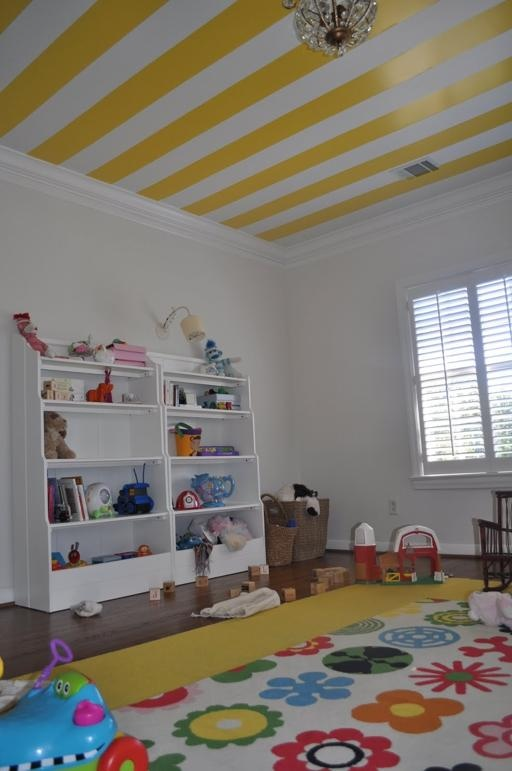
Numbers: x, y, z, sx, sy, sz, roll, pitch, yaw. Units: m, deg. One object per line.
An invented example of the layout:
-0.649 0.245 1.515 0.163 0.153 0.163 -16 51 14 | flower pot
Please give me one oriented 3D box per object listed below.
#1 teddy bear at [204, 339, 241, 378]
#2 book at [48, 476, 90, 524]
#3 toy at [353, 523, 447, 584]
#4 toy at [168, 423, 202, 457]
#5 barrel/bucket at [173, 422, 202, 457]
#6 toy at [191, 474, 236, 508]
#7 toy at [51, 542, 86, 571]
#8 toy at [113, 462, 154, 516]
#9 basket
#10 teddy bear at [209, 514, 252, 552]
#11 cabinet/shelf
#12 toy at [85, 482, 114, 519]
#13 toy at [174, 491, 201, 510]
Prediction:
-0.268 -0.203 3.979 0.260 0.288 0.181 -11 -5 -30 | teddy bear
-1.048 0.598 2.851 0.210 0.250 0.265 -1 -12 -44 | book
0.755 0.878 2.795 0.466 0.293 0.232 -2 -7 7 | toy
-0.485 0.359 3.504 0.207 0.193 0.199 -10 -14 39 | toy
-0.450 0.359 3.436 0.196 0.237 0.216 -6 -12 24 | barrel/bucket
-0.261 0.727 3.583 0.307 0.211 0.189 0 -12 8 | toy
-0.978 0.906 2.748 0.151 0.142 0.149 -4 -1 -16 | toy
-0.729 0.621 3.132 0.219 0.276 0.160 -7 -10 29 | toy
0.284 1.051 3.842 0.386 0.368 0.550 -6 -10 32 | basket
-0.166 0.960 3.438 0.216 0.081 0.192 18 2 -21 | teddy bear
-0.714 0.530 3.101 0.383 1.359 1.491 -14 -15 41 | cabinet/shelf
-0.882 0.644 2.934 0.093 0.166 0.162 -8 -10 18 | toy
-0.430 0.733 3.358 0.104 0.084 0.136 1 -14 -12 | toy
